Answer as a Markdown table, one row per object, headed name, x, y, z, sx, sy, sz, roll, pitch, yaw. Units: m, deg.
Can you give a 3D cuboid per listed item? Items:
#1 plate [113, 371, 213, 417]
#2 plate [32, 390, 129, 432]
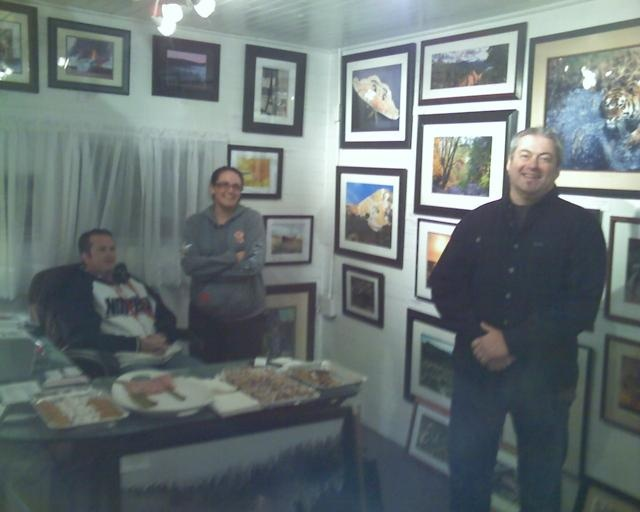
| name | x | y | z | sx | sy | sz | roll | pitch | yaw |
| --- | --- | --- | --- | --- | --- | --- | --- | --- | --- |
| plate | -0.468 | 0.413 | 1.632 | 0.279 | 0.071 | 0.166 | -4 | 15 | -23 |
| plate | -0.671 | 0.426 | 1.536 | 0.192 | 0.067 | 0.182 | 10 | 16 | 29 |
